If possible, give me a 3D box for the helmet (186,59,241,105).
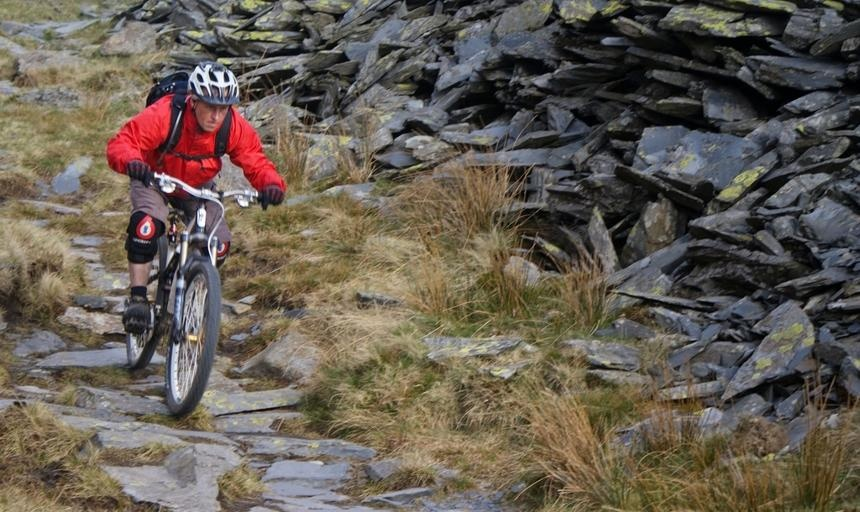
[{"bbox_3d":[-2.672,-2.110,12.799,0.440,0.305,0.648,-2,37,-33],"label":"helmet"}]

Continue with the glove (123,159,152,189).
[{"bbox_3d":[-3.543,-1.000,12.773,0.255,0.330,0.143,-20,6,8],"label":"glove"}]
